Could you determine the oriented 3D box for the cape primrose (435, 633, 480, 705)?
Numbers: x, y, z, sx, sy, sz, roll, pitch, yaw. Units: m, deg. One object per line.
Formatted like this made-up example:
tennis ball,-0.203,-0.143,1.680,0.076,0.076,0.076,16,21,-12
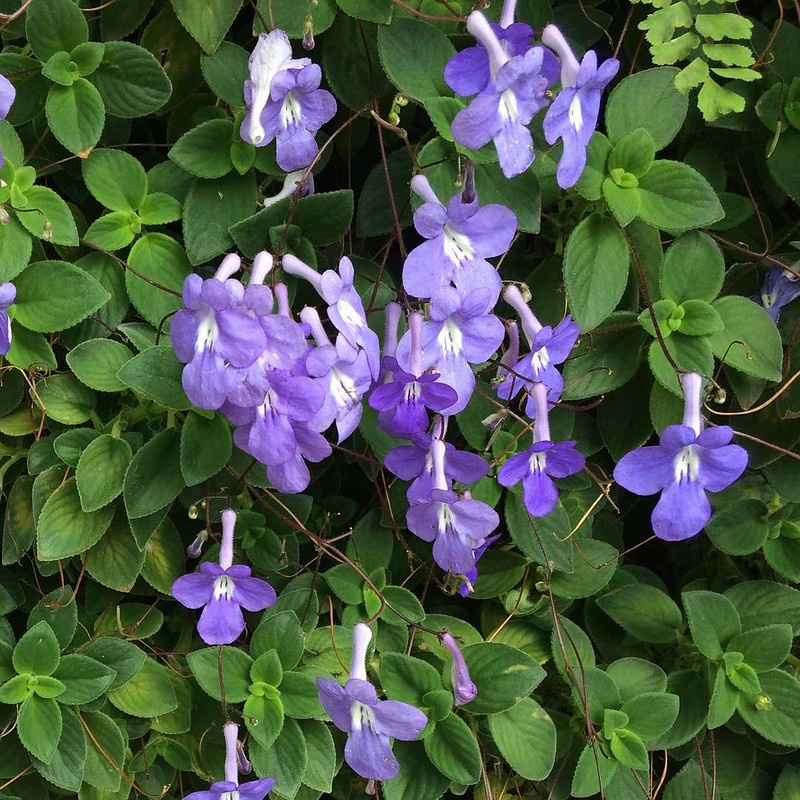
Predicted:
cape primrose,0.137,0.608,2.401,0.056,0.099,0.268,7,58,-24
